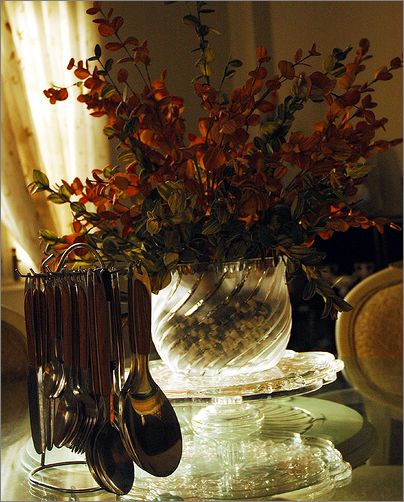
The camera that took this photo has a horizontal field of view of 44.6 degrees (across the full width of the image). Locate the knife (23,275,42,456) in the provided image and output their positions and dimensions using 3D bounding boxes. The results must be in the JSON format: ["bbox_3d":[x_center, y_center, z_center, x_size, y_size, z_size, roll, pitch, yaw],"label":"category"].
[{"bbox_3d":[-0.162,0.102,0.453,0.022,0.158,0.020,-1,-9,-31],"label":"knife"}]

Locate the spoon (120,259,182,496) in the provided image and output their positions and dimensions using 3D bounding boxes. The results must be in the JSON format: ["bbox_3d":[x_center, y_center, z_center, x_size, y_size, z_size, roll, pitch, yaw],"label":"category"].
[{"bbox_3d":[-0.050,0.099,0.417,0.048,0.122,0.078,-4,-2,-12],"label":"spoon"}]

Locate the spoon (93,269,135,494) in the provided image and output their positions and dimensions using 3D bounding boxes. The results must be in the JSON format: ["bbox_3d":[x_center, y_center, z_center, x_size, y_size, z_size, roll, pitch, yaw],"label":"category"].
[{"bbox_3d":[-0.084,0.107,0.407,0.027,0.158,0.033,-4,-13,-18],"label":"spoon"}]

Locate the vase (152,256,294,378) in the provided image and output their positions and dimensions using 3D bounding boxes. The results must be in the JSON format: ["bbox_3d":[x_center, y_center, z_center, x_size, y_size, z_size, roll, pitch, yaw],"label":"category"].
[{"bbox_3d":[0.021,0.075,0.583,0.152,0.097,0.138,-2,-9,-7],"label":"vase"}]

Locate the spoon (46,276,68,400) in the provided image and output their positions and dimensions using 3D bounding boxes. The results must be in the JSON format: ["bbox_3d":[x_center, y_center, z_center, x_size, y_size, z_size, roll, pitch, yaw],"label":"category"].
[{"bbox_3d":[-0.124,0.075,0.450,0.026,0.114,0.022,0,-8,2],"label":"spoon"}]
